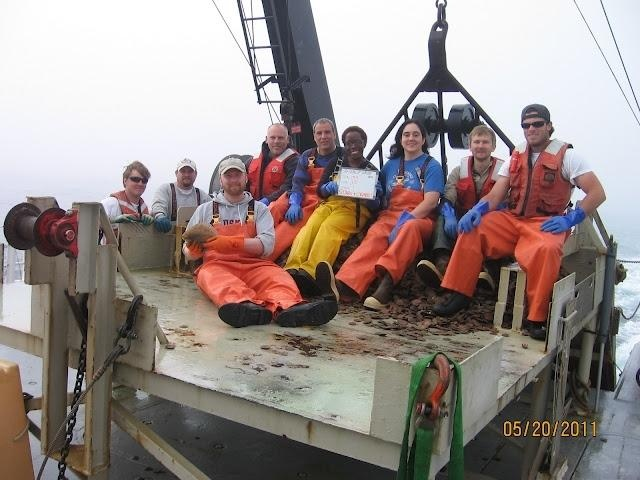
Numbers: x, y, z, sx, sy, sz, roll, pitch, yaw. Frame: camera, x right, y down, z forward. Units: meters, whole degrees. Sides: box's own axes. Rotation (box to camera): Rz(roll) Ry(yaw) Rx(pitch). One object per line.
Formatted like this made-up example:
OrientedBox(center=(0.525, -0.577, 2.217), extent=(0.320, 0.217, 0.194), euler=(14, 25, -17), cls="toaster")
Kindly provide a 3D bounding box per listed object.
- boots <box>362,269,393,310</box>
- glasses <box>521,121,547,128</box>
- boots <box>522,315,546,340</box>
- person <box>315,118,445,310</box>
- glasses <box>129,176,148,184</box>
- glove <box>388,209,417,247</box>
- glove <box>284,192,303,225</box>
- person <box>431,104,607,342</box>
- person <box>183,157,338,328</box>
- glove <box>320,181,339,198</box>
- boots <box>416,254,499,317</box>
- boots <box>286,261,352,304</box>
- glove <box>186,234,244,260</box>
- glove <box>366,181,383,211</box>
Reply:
OrientedBox(center=(0.547, 0.447, 4.077), extent=(0.175, 0.310, 0.349), euler=(8, 11, 33), cls="boots")
OrientedBox(center=(1.840, -0.993, 3.836), extent=(0.213, 0.085, 0.100), euler=(7, 10, 25), cls="glasses")
OrientedBox(center=(1.691, 0.690, 3.484), extent=(0.101, 0.171, 0.164), euler=(5, -8, -26), cls="boots")
OrientedBox(center=(0.642, -0.354, 4.332), extent=(0.825, 1.283, 1.955), euler=(1, 24, 30), cls="person")
OrientedBox(center=(-1.993, -0.671, 4.950), extent=(0.174, 0.081, 0.100), euler=(-2, 10, -26), cls="glasses")
OrientedBox(center=(0.770, -0.146, 4.348), extent=(0.084, 0.282, 0.276), euler=(33, 9, 1), cls="glove")
OrientedBox(center=(-0.265, -0.352, 4.789), extent=(0.147, 0.140, 0.381), euler=(9, 40, -6), cls="glove")
OrientedBox(center=(1.680, -0.269, 3.786), extent=(1.256, 1.848, 1.053), euler=(0, 7, -10), cls="person")
OrientedBox(center=(-0.470, -0.036, 3.966), extent=(0.849, 1.213, 1.768), euler=(-6, 19, -34), cls="person")
OrientedBox(center=(0.097, -0.537, 4.668), extent=(0.180, 0.071, 0.139), euler=(20, -21, -26), cls="glove")
OrientedBox(center=(1.226, 0.427, 3.948), extent=(1.020, 0.710, 0.341), euler=(14, -14, -41), cls="boots")
OrientedBox(center=(0.004, 0.409, 4.139), extent=(0.219, 0.677, 0.297), euler=(-18, 20, 31), cls="boots")
OrientedBox(center=(-0.854, 0.042, 3.762), extent=(0.377, 0.106, 0.219), euler=(-14, 13, -28), cls="glove")
OrientedBox(center=(0.583, -0.462, 4.670), extent=(0.193, 0.286, 0.092), euler=(1, -6, 22), cls="glove")
